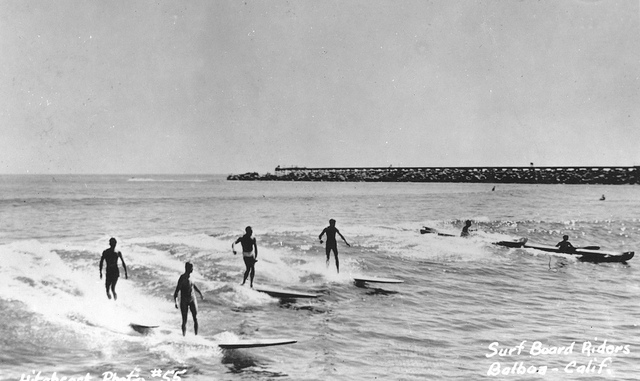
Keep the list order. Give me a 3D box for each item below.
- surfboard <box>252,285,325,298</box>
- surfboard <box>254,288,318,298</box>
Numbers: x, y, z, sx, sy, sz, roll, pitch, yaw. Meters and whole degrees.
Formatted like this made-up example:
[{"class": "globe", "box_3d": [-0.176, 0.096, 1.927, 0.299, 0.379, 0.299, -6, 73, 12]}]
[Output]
[{"class": "surfboard", "box_3d": [-1.582, 5.449, 35.297, 4.020, 0.409, 1.185, 5, 4, 1]}, {"class": "surfboard", "box_3d": [-1.733, 5.431, 35.367, 3.083, 0.457, 0.702, 1, -5, -4]}]
